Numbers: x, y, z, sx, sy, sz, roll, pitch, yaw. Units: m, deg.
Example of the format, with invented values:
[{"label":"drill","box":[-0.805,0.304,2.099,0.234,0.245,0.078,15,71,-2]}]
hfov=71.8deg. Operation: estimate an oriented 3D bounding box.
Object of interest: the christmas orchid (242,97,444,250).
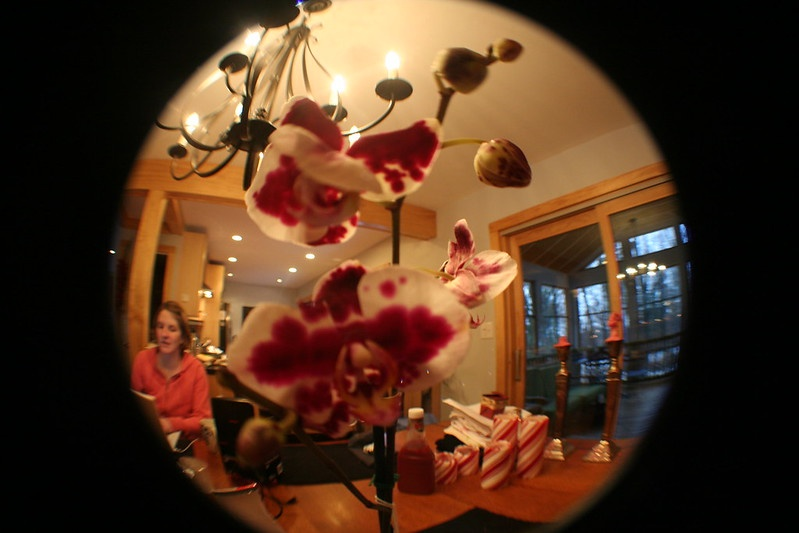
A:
[{"label":"christmas orchid","box":[-0.055,-0.093,0.534,0.159,0.141,0.114,1,-5,-30]}]

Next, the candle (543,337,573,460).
[{"label":"candle","box":[0.173,0.146,0.592,0.030,0.134,0.034,3,4,31]}]

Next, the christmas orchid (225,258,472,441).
[{"label":"christmas orchid","box":[-0.043,0.079,0.507,0.216,0.164,0.049,-2,-4,-2]}]
